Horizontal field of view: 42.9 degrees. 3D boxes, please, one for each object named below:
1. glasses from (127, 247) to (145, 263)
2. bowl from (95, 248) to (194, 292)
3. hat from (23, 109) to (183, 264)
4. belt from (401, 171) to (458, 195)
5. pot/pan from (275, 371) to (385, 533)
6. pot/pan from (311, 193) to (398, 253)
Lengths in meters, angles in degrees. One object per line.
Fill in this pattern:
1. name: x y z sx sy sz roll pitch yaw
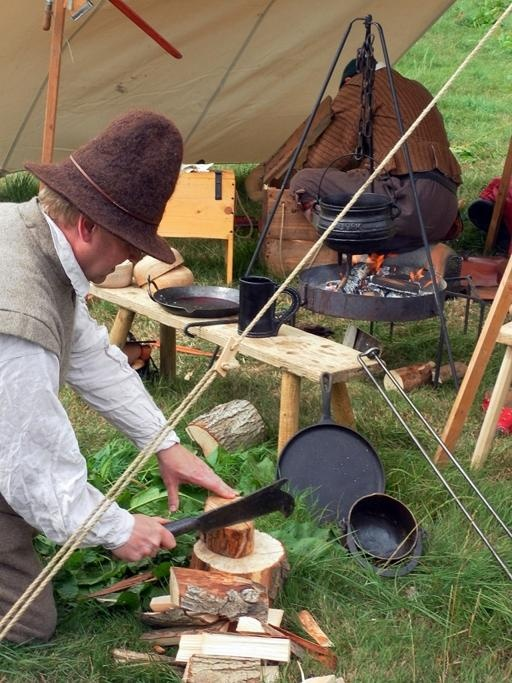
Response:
1. glasses: -0.323 -0.227 1.700 0.050 0.018 0.063 -1 0 -4
2. bowl: -0.587 -0.369 3.556 0.548 0.177 0.370 -4 8 -14
3. hat: -0.308 -0.377 1.631 0.454 0.238 0.329 29 18 -2
4. belt: 1.448 -1.278 5.200 0.181 0.194 0.626 19 27 38
5. pot/pan: 0.280 0.378 2.448 0.327 0.509 0.333 -15 27 -32
6. pot/pan: 0.564 -0.657 3.821 0.516 0.258 0.428 -3 10 -12
